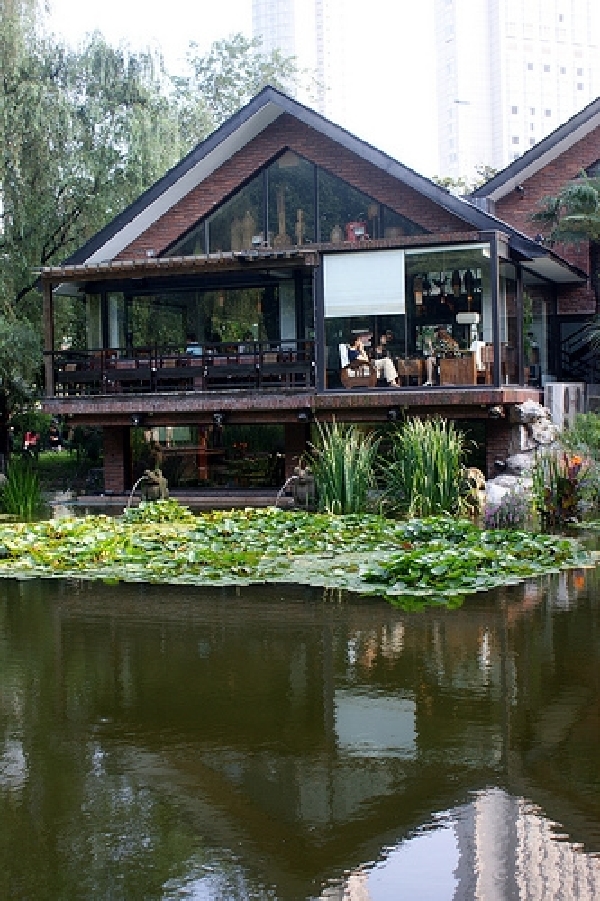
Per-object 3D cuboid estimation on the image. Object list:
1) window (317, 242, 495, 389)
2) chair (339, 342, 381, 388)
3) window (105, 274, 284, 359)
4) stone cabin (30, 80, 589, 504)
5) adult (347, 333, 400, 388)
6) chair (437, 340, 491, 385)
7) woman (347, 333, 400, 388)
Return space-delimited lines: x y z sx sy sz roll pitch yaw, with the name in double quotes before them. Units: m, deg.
"window" 1.959 -2.342 17.626 2.280 2.210 0.150 -1 -1 14
"chair" 1.059 -1.489 17.994 0.701 0.977 0.680 0 5 8
"window" -1.975 -2.644 20.756 3.940 1.587 0.061 -7 6 -29
"stone cabin" 0.742 -2.723 21.560 8.765 7.594 8.103 -1 -1 20
"adult" 1.247 -1.556 17.685 0.920 0.910 0.460 0 4 20
"chair" 2.777 -1.455 17.142 0.750 0.979 0.648 0 -1 10
"woman" 1.246 -1.556 17.683 0.920 0.910 0.456 0 4 20
